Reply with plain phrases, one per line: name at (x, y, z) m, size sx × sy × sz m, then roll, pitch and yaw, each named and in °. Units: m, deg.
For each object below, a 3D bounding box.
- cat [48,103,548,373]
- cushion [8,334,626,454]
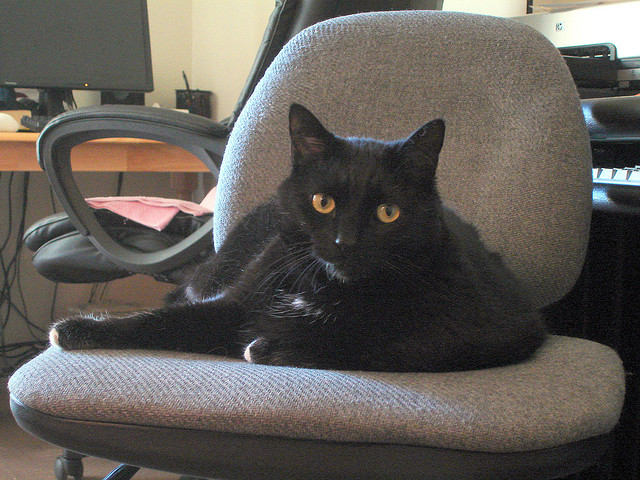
cat at (0.034, 0.000, 1.039) m, size 0.737 × 0.185 × 0.499 m, roll 1°, pitch -2°, yaw -29°
cushion at (0.012, 0.211, 0.923) m, size 0.861 × 0.120 × 0.181 m, roll -3°, pitch 15°, yaw -3°
